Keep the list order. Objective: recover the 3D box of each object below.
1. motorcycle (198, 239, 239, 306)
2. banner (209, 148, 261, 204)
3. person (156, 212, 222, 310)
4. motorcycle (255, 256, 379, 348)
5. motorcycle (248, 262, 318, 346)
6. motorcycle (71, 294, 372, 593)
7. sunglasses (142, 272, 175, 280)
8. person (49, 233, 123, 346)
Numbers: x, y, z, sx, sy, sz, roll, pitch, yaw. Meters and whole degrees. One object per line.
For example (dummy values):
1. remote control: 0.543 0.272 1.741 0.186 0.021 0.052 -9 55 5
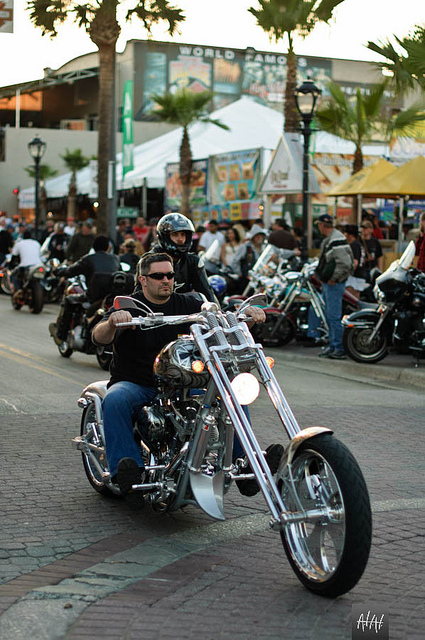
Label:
1. motorcycle: 0.052 -1.217 16.438 1.082 1.124 1.689 6 -3 -8
2. banner: 0.917 -5.406 27.130 0.111 1.964 2.984 -6 9 -36
3. person: -0.213 -0.555 5.842 0.454 0.536 0.952 -10 10 -18
4. motorcycle: 2.021 -0.348 13.591 2.845 1.667 1.330 -6 0 -19
5. motorcycle: 1.335 -0.298 13.567 1.997 1.246 1.116 -3 21 -21
6. motorcycle: -0.214 0.583 3.845 0.726 1.223 2.543 1 -2 -36
7. sunglasses: -0.321 -0.265 4.251 0.182 0.044 0.099 1 2 -10
8. person: -1.922 -0.606 11.239 1.026 1.099 1.758 3 4 -16
